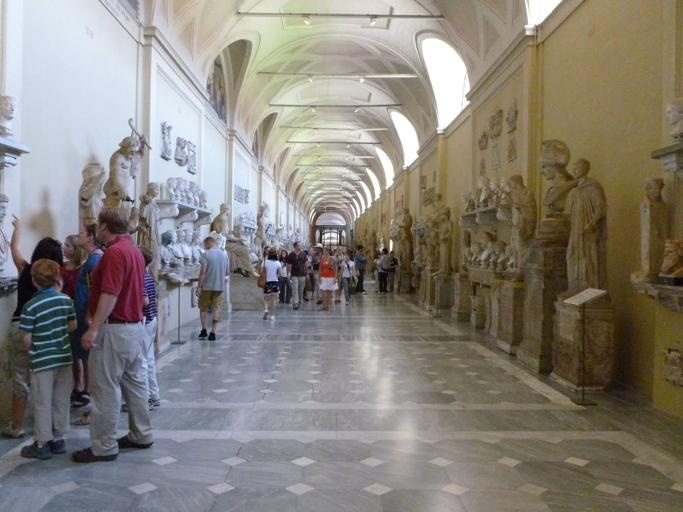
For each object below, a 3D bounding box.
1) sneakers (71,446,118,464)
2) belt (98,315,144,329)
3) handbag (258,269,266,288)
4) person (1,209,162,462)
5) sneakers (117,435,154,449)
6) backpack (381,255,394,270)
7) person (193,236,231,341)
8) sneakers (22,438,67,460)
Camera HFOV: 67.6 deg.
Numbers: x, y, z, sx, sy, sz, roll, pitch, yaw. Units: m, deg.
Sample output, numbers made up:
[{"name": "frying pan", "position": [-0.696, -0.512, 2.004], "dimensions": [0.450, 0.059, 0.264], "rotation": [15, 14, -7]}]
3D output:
[{"name": "sneakers", "position": [-2.192, 1.767, 4.526], "dimensions": [0.359, 0.144, 0.139], "rotation": [11, -5, -5]}, {"name": "belt", "position": [-1.908, 0.573, 4.483], "dimensions": [0.326, 0.137, 0.064], "rotation": [-4, 7, -36]}, {"name": "handbag", "position": [-1.715, 0.500, 11.114], "dimensions": [0.158, 0.492, 0.391], "rotation": [10, -14, -12]}, {"name": "person", "position": [-2.528, 0.675, 4.689], "dimensions": [1.485, 2.185, 0.718], "rotation": [3, 6, 23]}, {"name": "sneakers", "position": [-1.879, 1.730, 4.728], "dimensions": [0.302, 0.133, 0.112], "rotation": [14, -3, -6]}, {"name": "backpack", "position": [1.706, 0.297, 18.634], "dimensions": [0.437, 0.781, 0.622], "rotation": [0, 4, 5]}, {"name": "person", "position": [-2.219, 0.567, 8.834], "dimensions": [0.480, 1.782, 0.416], "rotation": [-1, 5, -16]}, {"name": "sneakers", "position": [-2.616, 1.718, 4.586], "dimensions": [0.374, 0.190, 0.160], "rotation": [4, 1, -6]}]
